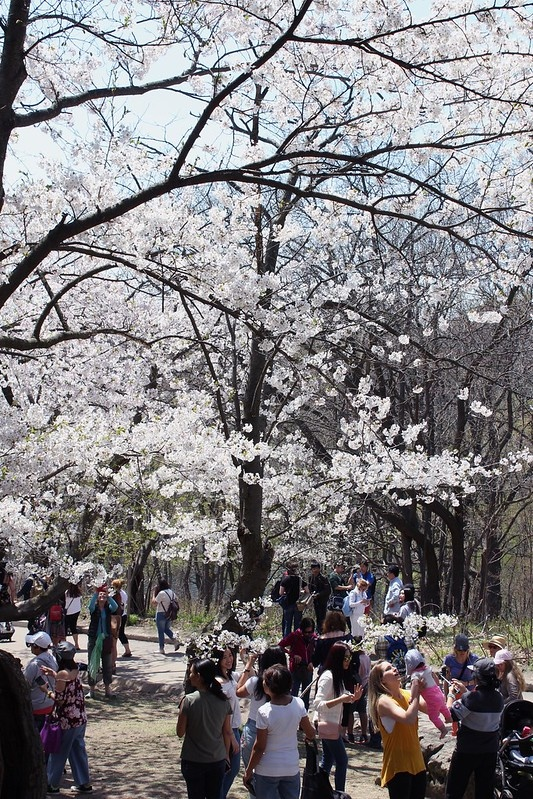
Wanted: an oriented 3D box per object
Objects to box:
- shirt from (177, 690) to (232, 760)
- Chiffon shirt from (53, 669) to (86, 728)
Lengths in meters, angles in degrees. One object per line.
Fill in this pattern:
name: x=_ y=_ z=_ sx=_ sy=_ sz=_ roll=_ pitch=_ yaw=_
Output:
shirt: x=-0.437 y=2.277 z=6.050 sx=0.338 sy=0.483 sz=0.162 roll=-3 pitch=-6 yaw=-6
Chiffon shirt: x=-1.746 y=2.644 z=7.667 sx=0.297 sy=0.499 sz=0.298 roll=-1 pitch=-7 yaw=-23
